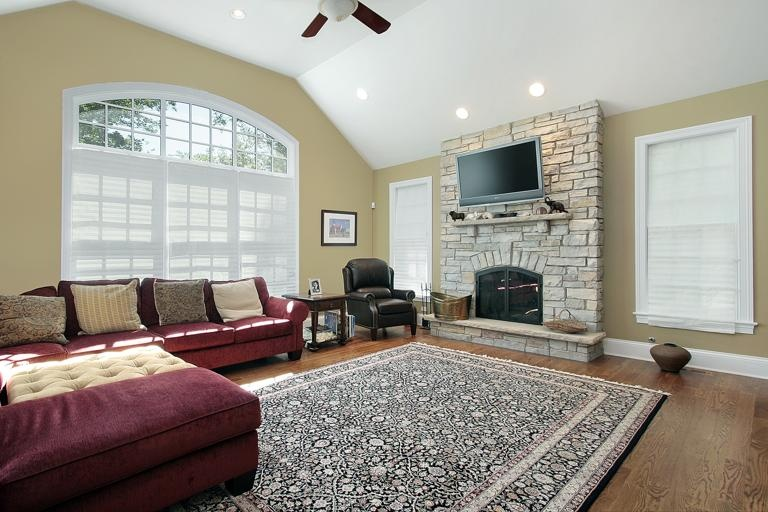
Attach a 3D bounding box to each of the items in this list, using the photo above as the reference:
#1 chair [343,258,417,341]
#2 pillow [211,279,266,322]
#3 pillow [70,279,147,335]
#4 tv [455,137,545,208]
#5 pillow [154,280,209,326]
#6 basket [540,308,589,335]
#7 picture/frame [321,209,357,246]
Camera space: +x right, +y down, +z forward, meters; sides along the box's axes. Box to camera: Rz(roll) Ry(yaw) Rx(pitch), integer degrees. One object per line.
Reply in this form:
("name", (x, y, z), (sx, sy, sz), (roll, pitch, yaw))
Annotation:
("chair", (-0.077, 0.596, 7.183), (1.112, 1.064, 1.048), (0, 4, -9))
("pillow", (-1.809, 0.557, 5.930), (0.325, 0.451, 0.623), (7, 9, 38))
("pillow", (-2.966, 0.563, 5.160), (0.646, 0.527, 0.332), (-4, 5, -37))
("tv", (1.627, -1.134, 6.549), (1.215, 0.742, 0.086), (-2, 2, 41))
("pillow", (-2.363, 0.550, 5.581), (0.677, 0.617, 0.230), (1, -32, -32))
("basket", (2.337, 0.826, 6.103), (0.316, 0.180, 0.374), (-6, 2, -42))
("picture/frame", (-0.755, -0.476, 8.169), (0.770, 0.589, 0.044), (5, 8, 34))
